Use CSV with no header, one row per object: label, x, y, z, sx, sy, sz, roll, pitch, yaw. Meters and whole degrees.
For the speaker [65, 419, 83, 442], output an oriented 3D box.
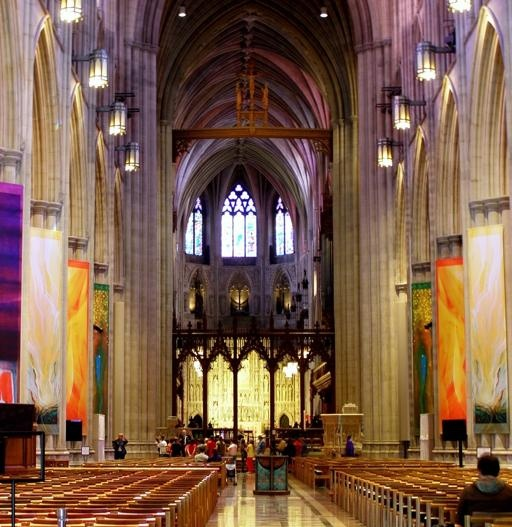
speaker,-3.965,3.605,22.337,0.296,0.628,0.499,-1,-2,-7
